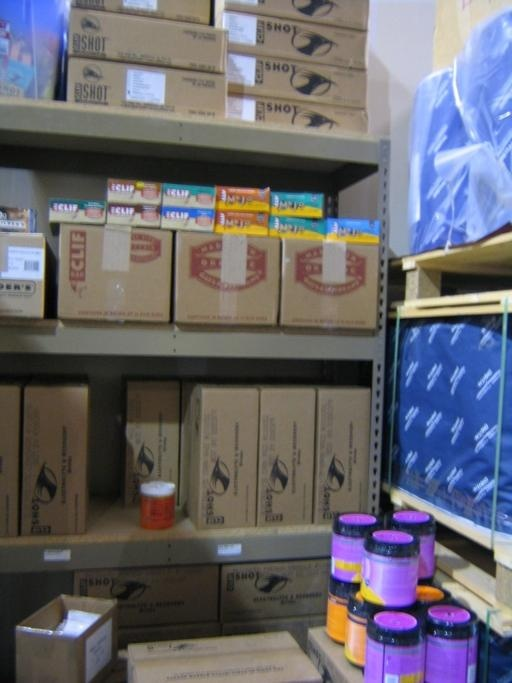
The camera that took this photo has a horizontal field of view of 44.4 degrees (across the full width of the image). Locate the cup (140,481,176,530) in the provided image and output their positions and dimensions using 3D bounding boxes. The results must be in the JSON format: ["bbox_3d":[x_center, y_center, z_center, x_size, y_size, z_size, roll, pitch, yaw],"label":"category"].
[{"bbox_3d":[-0.251,0.418,1.590,0.080,0.128,0.092,1,2,-24],"label":"cup"}]
